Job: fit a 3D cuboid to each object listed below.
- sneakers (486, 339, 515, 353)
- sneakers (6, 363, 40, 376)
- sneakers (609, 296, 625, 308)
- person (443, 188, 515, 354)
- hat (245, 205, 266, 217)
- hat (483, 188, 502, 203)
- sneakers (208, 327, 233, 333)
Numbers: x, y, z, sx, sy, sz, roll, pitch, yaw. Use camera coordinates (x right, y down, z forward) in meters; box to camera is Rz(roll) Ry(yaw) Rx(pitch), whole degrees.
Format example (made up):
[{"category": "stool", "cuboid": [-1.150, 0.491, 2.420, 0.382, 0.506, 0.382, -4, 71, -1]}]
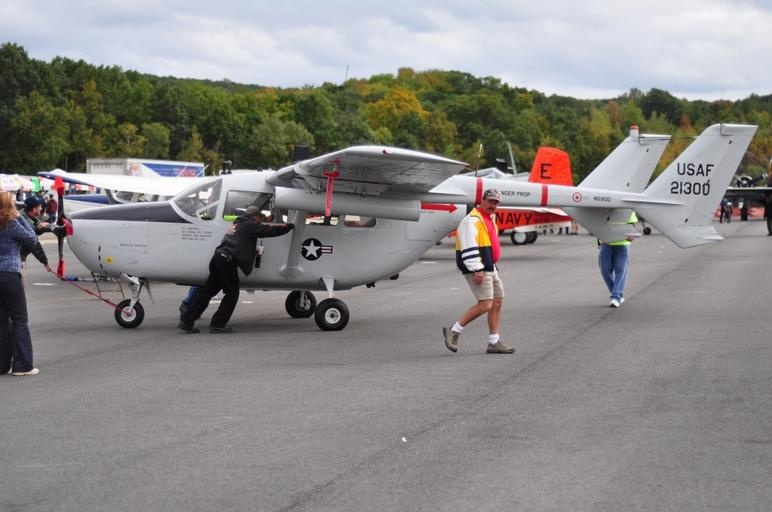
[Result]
[{"category": "sneakers", "cuboid": [1.726, 1.378, 10.308, 0.389, 0.152, 0.192, -2, 2, 0]}, {"category": "sneakers", "cuboid": [-4.882, 1.526, 9.142, 0.415, 0.167, 0.135, -1, 7, -13]}, {"category": "sneakers", "cuboid": [4.923, 1.012, 14.529, 0.169, 0.217, 0.498, -4, -7, 23]}, {"category": "person", "cuboid": [1.452, 0.283, 10.274, 0.993, 2.525, 0.974, 11, 11, 33]}, {"category": "hat", "cuboid": [-2.348, -0.793, 12.078, 0.269, 0.130, 0.173, 0, 6, -39]}, {"category": "hat", "cuboid": [1.615, -0.949, 10.410, 0.281, 0.176, 0.348, 13, -8, 3]}, {"category": "sneakers", "cuboid": [-2.936, 1.311, 11.954, 0.402, 0.152, 0.139, -3, 2, -9]}]
